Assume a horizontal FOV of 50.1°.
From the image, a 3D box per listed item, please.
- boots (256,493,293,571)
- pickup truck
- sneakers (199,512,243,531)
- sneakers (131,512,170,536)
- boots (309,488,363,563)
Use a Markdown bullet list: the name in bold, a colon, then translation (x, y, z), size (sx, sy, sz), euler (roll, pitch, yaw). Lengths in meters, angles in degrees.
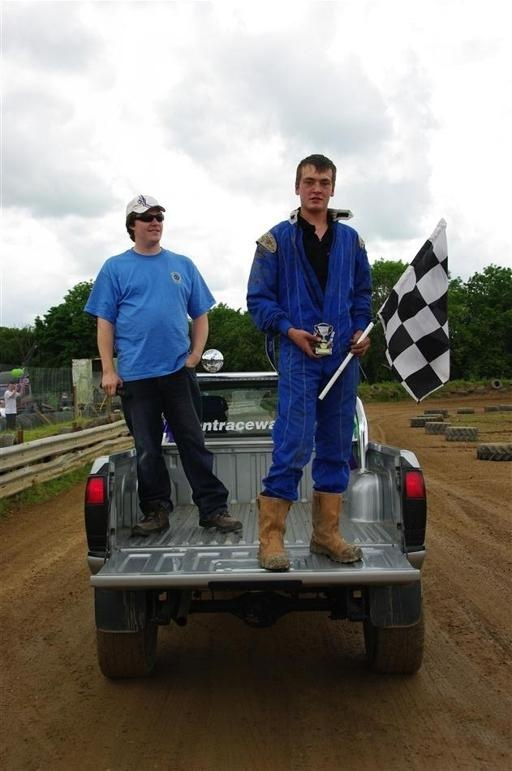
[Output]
- **boots**: translation (0.077, 0.665, 2.476), size (0.137, 0.312, 0.304), euler (5, -5, -7)
- **pickup truck**: translation (0.005, 0.788, 3.074), size (1.568, 1.518, 1.901), euler (-1, -5, 0)
- **sneakers**: translation (-0.207, 0.763, 3.127), size (0.221, 0.111, 0.091), euler (0, 3, 17)
- **sneakers**: translation (-0.586, 0.776, 3.051), size (0.080, 0.103, 0.215), euler (-4, -10, 30)
- **boots**: translation (0.373, 0.668, 2.569), size (0.127, 0.304, 0.290), euler (2, 3, -43)
